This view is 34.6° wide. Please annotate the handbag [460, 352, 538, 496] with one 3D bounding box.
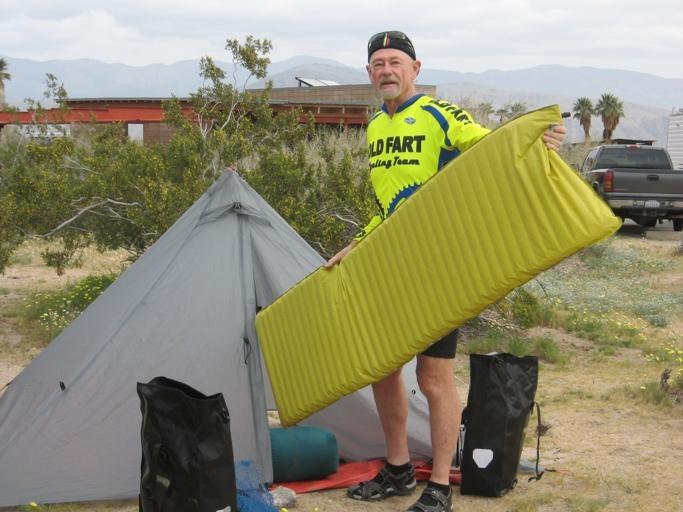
[{"bbox_3d":[1.783,1.884,12.758,0.798,1.673,0.947,3,7,5],"label":"handbag"}]
